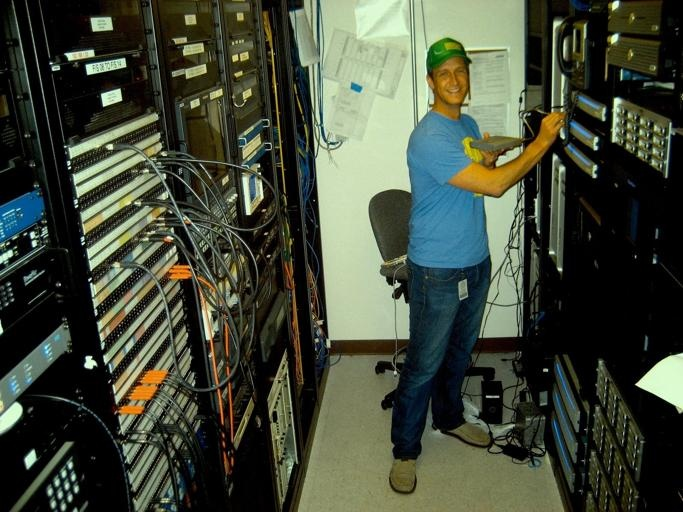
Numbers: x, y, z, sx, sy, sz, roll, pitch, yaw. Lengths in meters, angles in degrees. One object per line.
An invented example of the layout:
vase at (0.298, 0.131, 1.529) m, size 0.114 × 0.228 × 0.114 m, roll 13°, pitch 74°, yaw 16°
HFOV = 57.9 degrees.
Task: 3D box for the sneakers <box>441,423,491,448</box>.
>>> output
sneakers at (0.671, 0.945, 3.322) m, size 0.241 × 0.097 × 0.103 m, roll 8°, pitch 23°, yaw 33°

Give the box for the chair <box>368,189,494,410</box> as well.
chair at (0.382, 0.114, 3.380) m, size 0.506 × 0.949 × 0.525 m, roll 2°, pitch 11°, yaw 35°

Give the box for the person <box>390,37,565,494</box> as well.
person at (0.589, 0.030, 2.997) m, size 0.808 × 2.106 × 0.533 m, roll -4°, pitch 12°, yaw -6°

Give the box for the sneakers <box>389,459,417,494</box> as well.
sneakers at (0.303, 1.063, 3.068) m, size 0.130 × 0.091 × 0.234 m, roll 3°, pitch 27°, yaw 3°
